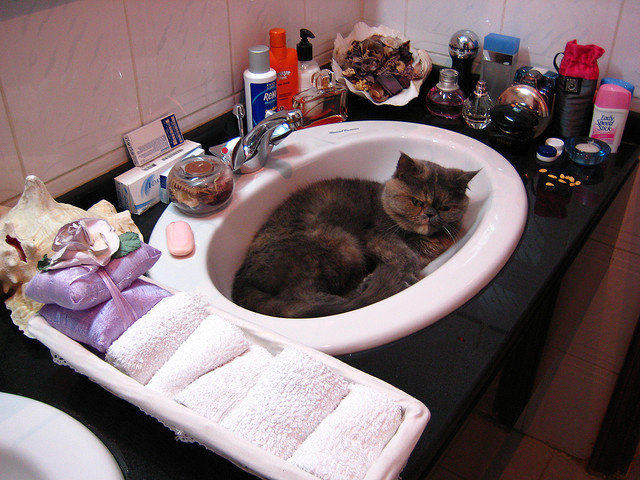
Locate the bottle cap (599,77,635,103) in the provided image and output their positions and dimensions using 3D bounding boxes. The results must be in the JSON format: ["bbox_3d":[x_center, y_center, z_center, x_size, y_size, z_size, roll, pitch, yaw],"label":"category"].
[{"bbox_3d":[0.727,-0.365,1.128,0.058,0.046,0.034,28,50,32],"label":"bottle cap"}]

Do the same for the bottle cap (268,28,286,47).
[{"bbox_3d":[-0.106,-0.511,1.167,0.040,0.042,0.046,0,53,-3],"label":"bottle cap"}]

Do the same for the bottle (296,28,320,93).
[{"bbox_3d":[-0.037,-0.485,1.284,0.068,0.183,0.074,-3,32,2],"label":"bottle"}]

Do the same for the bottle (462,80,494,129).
[{"bbox_3d":[0.440,-0.371,1.266,0.082,0.123,0.081,-7,28,4],"label":"bottle"}]

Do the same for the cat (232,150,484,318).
[{"bbox_3d":[0.094,0.046,1.105,0.502,0.265,0.325,-31,34,-23],"label":"cat"}]

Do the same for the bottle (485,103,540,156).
[{"bbox_3d":[0.491,-0.277,1.168,0.128,0.094,0.128,-2,44,2],"label":"bottle"}]

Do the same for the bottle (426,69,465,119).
[{"bbox_3d":[0.363,-0.419,1.315,0.109,0.127,0.114,-18,37,-22],"label":"bottle"}]

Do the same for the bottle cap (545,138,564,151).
[{"bbox_3d":[0.592,-0.243,1.161,0.033,0.026,0.037,-5,42,4],"label":"bottle cap"}]

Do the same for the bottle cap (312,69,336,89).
[{"bbox_3d":[0.011,-0.443,1.276,0.056,0.054,0.055,-27,38,-36],"label":"bottle cap"}]

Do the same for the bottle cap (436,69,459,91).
[{"bbox_3d":[0.354,-0.438,1.272,0.048,0.044,0.057,0,36,2],"label":"bottle cap"}]

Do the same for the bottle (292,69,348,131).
[{"bbox_3d":[0.006,-0.399,1.267,0.154,0.158,0.059,-17,48,-23],"label":"bottle"}]

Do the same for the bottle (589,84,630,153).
[{"bbox_3d":[0.714,-0.298,1.141,0.081,0.140,0.068,14,44,18],"label":"bottle"}]

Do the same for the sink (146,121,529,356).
[{"bbox_3d":[0.071,-0.022,0.967,0.633,0.242,0.499,-42,41,-21],"label":"sink"}]

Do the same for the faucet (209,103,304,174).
[{"bbox_3d":[-0.146,-0.235,1.100,0.183,0.144,0.146,-20,49,-17],"label":"faucet"}]

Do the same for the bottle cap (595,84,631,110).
[{"bbox_3d":[0.710,-0.345,1.116,0.049,0.038,0.029,20,46,24],"label":"bottle cap"}]
